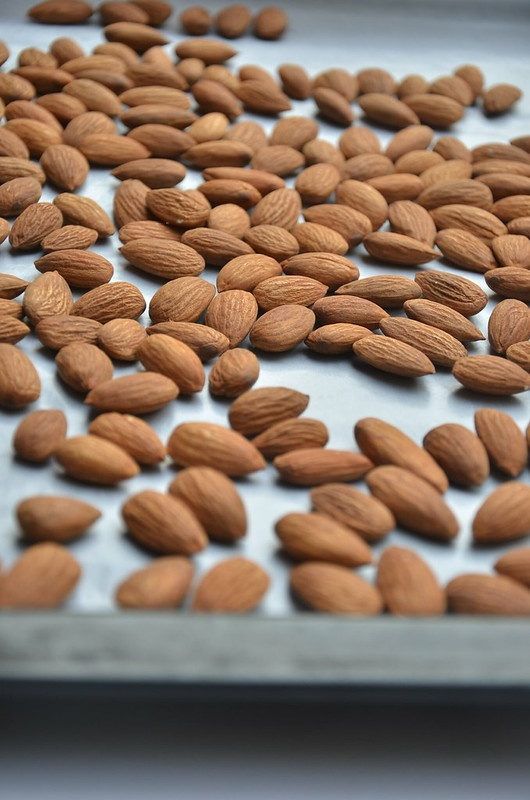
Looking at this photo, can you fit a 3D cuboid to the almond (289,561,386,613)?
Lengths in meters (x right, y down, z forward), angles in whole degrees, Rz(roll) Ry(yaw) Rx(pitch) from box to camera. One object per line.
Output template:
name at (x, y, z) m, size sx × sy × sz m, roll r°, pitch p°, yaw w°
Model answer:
almond at (0.048, 0.133, 0.540) m, size 0.050 × 0.018 × 0.031 m, roll 22°, pitch 48°, yaw 6°

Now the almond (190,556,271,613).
almond at (-0.025, 0.133, 0.535) m, size 0.040 × 0.022 × 0.052 m, roll 11°, pitch 31°, yaw 22°
